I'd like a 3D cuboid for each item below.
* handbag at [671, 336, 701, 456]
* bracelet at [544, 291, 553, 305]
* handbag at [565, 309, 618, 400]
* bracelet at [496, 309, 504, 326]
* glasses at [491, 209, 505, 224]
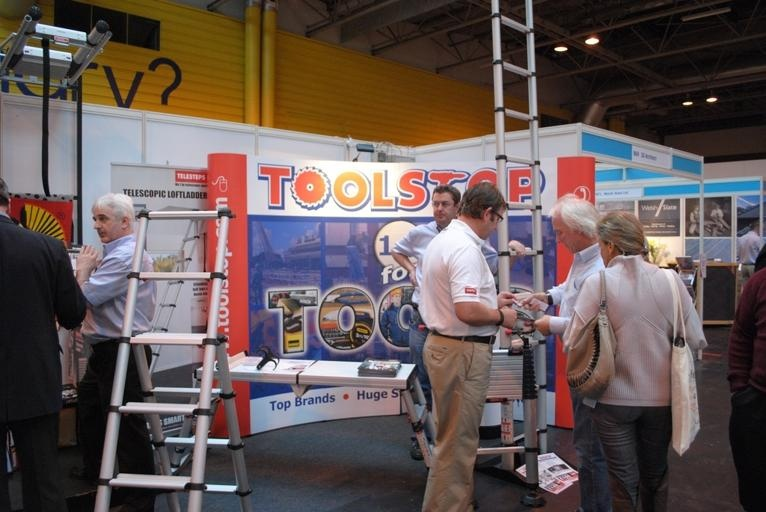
[{"bbox_3d":[2.172,1.003,4.797,0.267,0.844,0.119,0,1,-39],"label":"handbag"},{"bbox_3d":[1.441,0.361,5.853,0.063,0.090,0.100,-1,-19,0],"label":"bracelet"},{"bbox_3d":[1.558,0.705,5.040,0.358,0.742,0.601,7,-10,-3],"label":"handbag"},{"bbox_3d":[0.912,0.486,5.166,0.027,0.098,0.097,7,0,-10],"label":"bracelet"},{"bbox_3d":[0.916,-0.316,5.344,0.030,0.107,0.101,-5,-3,1],"label":"glasses"}]
